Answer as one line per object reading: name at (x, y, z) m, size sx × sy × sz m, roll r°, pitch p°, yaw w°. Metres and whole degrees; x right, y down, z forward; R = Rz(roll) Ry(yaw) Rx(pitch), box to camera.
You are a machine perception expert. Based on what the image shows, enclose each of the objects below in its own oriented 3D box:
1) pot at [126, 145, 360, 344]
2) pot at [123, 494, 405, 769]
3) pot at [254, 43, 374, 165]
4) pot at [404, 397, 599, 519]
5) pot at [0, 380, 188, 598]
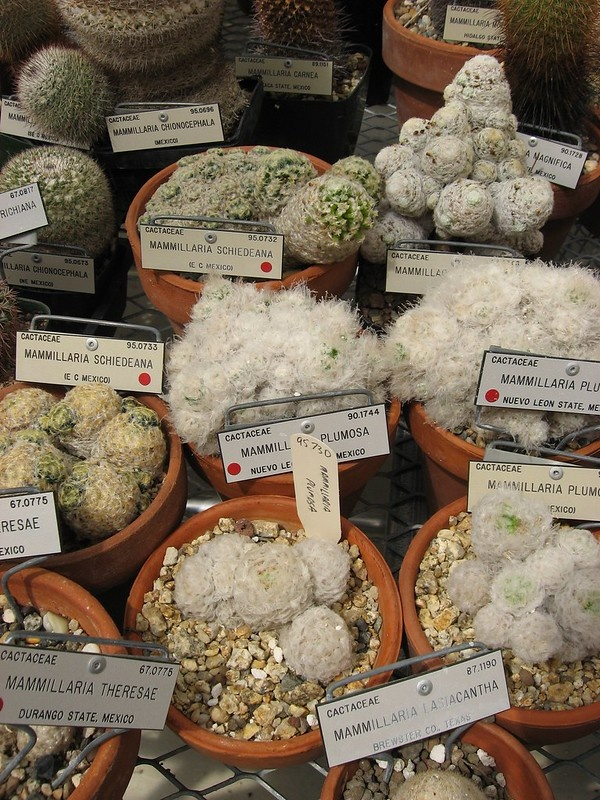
pot at (-0.172, -0.300, 1.567) m, size 0.476 × 0.331 × 0.468 m, roll 1°, pitch 51°, yaw -1°
pot at (-0.052, 0.339, 1.042) m, size 0.427 × 0.146 × 0.421 m, roll -1°, pitch 61°, yaw 1°
pot at (0.035, -0.908, 2.015) m, size 0.299 × 0.251 × 0.392 m, roll 8°, pitch 45°, yaw 6°
pot at (0.353, 0.112, 1.362) m, size 0.265 × 0.189 × 0.258 m, roll -2°, pitch 40°, yaw 1°
pot at (-0.360, 0.145, 1.211) m, size 0.351 × 0.232 × 0.361 m, roll 1°, pitch 47°, yaw -1°
